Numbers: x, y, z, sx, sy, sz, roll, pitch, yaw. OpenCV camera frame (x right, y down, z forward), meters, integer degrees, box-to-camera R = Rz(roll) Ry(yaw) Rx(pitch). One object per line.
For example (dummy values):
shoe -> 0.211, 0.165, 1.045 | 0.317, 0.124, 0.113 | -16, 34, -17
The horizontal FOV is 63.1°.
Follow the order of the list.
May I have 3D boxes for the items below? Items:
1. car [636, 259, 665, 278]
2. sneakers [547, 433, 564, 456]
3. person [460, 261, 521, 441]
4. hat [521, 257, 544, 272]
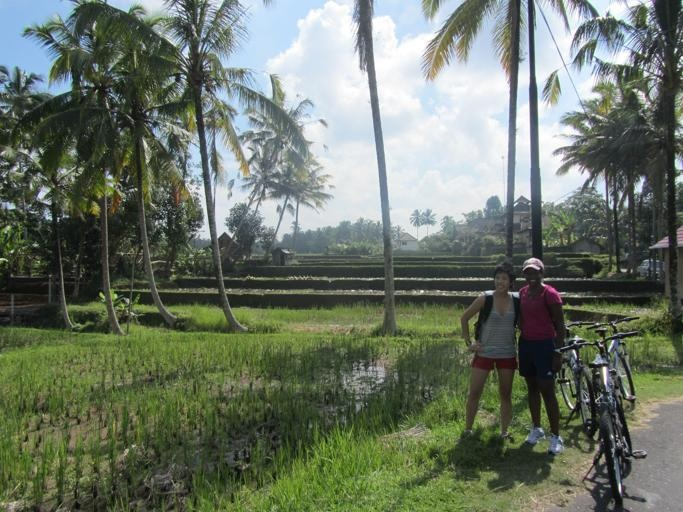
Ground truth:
car -> 17.293, 0.688, 31.037 | 0.829, 0.937, 1.557 | 1, 5, 20
sneakers -> 3.342, 2.981, 8.685 | 0.217, 0.282, 0.137 | 0, 8, 6
person -> 2.417, 1.534, 9.001 | 0.844, 2.857, 0.803 | 2, 8, 20
hat -> 3.159, 0.120, 9.091 | 0.221, 0.219, 0.383 | -2, -23, 32
